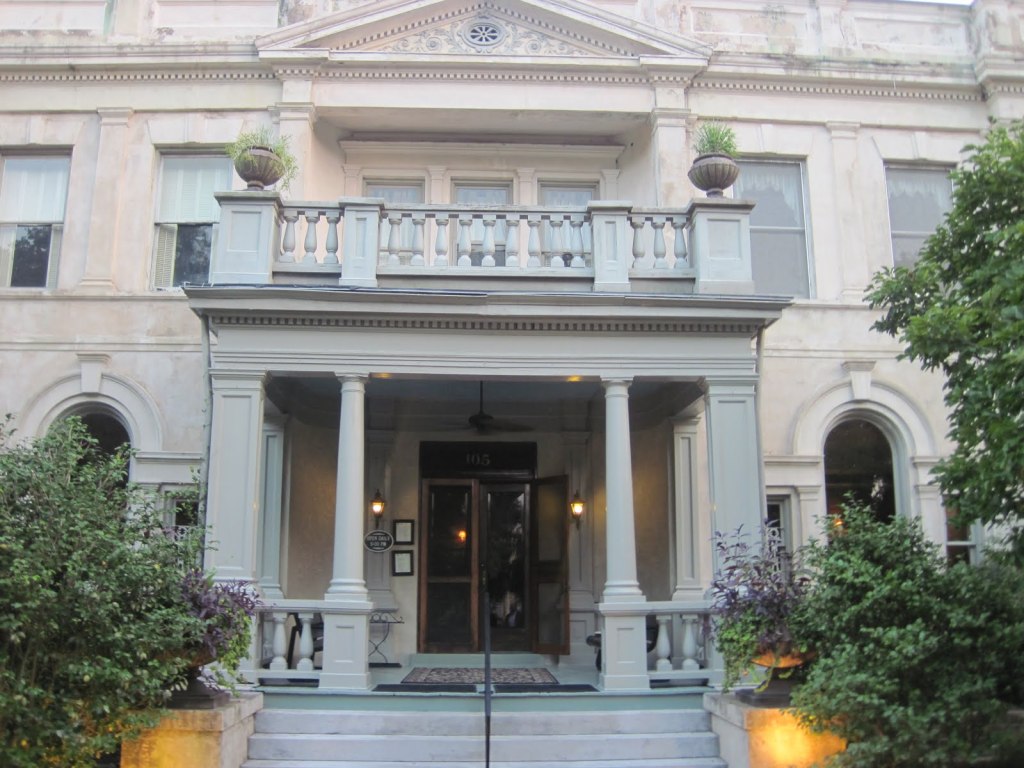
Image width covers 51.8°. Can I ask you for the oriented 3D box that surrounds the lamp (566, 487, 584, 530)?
[{"bbox_3d":[0.980,1.908,16.130,0.226,0.598,0.301,-5,-13,17],"label":"lamp"}]

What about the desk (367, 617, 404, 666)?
[{"bbox_3d":[-1.930,3.678,15.070,0.753,0.782,0.775,0,-12,-3],"label":"desk"}]

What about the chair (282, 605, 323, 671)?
[{"bbox_3d":[-2.658,3.247,13.404,0.351,0.325,1.242,6,12,-8],"label":"chair"}]

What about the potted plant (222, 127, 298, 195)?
[{"bbox_3d":[-3.215,-2.944,13.795,0.506,0.933,0.843,-8,-14,28],"label":"potted plant"}]

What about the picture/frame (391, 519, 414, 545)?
[{"bbox_3d":[-1.703,2.293,16.183,0.345,0.403,0.054,1,-8,-6],"label":"picture/frame"}]

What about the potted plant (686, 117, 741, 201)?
[{"bbox_3d":[2.641,-2.969,13.825,0.537,1.153,0.617,-13,-17,43],"label":"potted plant"}]

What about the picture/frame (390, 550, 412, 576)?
[{"bbox_3d":[-1.707,2.764,16.108,0.364,0.441,0.061,1,-14,-5],"label":"picture/frame"}]

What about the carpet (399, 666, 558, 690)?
[{"bbox_3d":[-0.430,3.806,13.695,1.976,0.205,2.247,0,-13,-5],"label":"carpet"}]

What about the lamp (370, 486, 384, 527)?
[{"bbox_3d":[-2.057,1.891,16.058,0.207,0.574,0.265,-2,-13,4],"label":"lamp"}]
